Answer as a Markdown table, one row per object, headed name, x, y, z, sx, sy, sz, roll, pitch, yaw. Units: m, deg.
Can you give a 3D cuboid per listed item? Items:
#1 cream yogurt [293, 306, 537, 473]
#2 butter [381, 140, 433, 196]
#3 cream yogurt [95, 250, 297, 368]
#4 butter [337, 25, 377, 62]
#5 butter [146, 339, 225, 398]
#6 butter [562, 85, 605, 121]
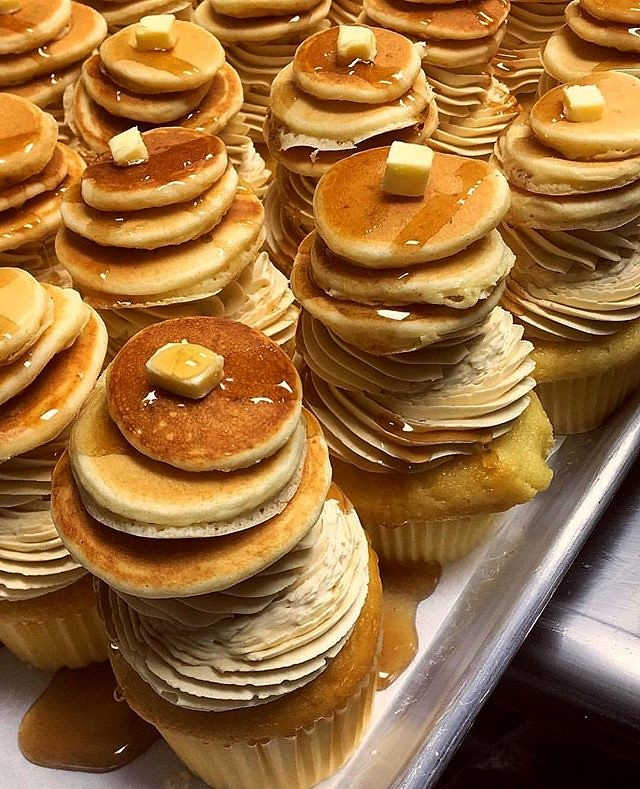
| name | x | y | z | sx | sy | sz | roll | pitch | yaw |
| --- | --- | --- | --- | --- | --- | --- | --- | --- | --- |
| cream yogurt | 0.173 | 0.006 | 1.682 | 0.441 | 0.135 | 0.355 | 20 | 53 | 25 |
| butter | 0.141 | -0.385 | 1.506 | 0.114 | 0.091 | 0.085 | 3 | 61 | 0 |
| cream yogurt | -0.213 | -0.178 | 1.736 | 0.303 | 0.104 | 0.298 | 29 | 46 | 30 |
| butter | 0.076 | -0.762 | 1.870 | 0.085 | 0.036 | 0.101 | 2 | 41 | 4 |
| butter | -0.193 | -0.045 | 1.215 | 0.095 | 0.037 | 0.089 | 26 | 47 | 24 |
| butter | 0.552 | -0.622 | 1.789 | 0.106 | 0.052 | 0.082 | -3 | 46 | 1 |
